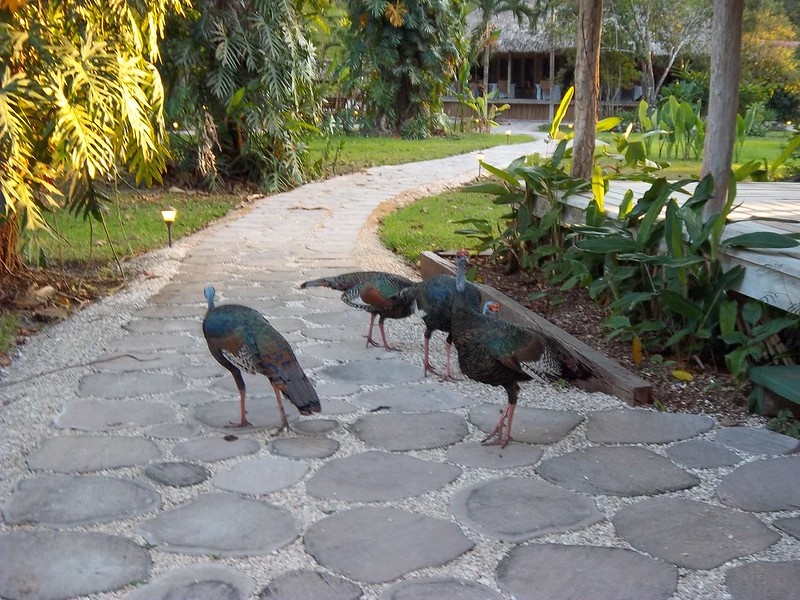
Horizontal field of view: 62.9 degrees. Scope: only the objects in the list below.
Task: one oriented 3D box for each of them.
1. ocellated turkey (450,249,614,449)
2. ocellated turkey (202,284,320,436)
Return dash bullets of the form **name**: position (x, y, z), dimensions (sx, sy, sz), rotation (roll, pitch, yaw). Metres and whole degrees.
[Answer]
- **ocellated turkey**: position (0.669, 0.309, 3.660), dimensions (0.816, 0.897, 0.424), rotation (-14, 20, -40)
- **ocellated turkey**: position (-0.809, 0.325, 3.699), dimensions (0.955, 0.773, 0.414), rotation (7, 10, 38)
